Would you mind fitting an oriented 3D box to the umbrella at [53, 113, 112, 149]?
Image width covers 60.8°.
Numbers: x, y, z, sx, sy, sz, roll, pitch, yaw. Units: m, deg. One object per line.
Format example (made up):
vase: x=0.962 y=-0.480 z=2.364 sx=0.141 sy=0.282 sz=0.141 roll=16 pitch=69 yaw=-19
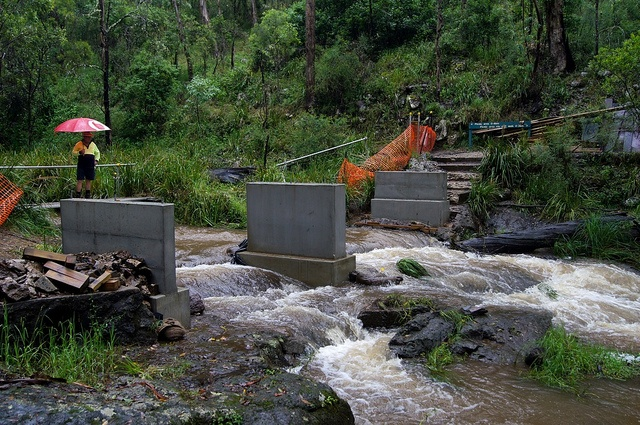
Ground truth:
umbrella: x=-6.432 y=-2.362 z=15.305 sx=1.254 sy=0.519 sz=1.377 roll=0 pitch=4 yaw=9
